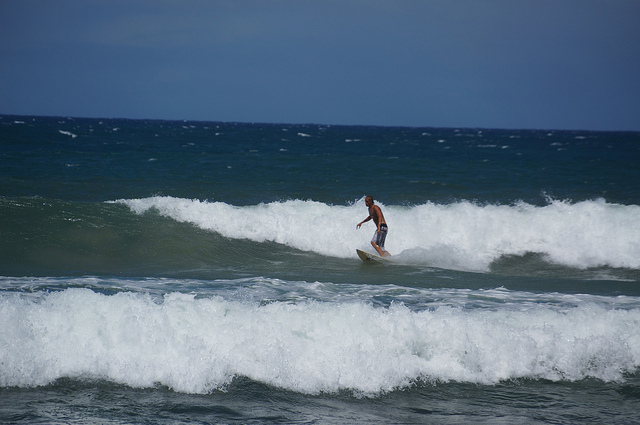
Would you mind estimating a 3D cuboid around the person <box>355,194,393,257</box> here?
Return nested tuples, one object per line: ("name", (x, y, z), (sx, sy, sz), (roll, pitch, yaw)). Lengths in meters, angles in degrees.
("person", (1.691, 0.368, 26.348), (1.044, 1.736, 1.433), (4, 13, -1))

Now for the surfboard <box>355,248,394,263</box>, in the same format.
("surfboard", (1.518, 1.331, 25.791), (0.200, 0.294, 1.868), (14, 4, -30))
